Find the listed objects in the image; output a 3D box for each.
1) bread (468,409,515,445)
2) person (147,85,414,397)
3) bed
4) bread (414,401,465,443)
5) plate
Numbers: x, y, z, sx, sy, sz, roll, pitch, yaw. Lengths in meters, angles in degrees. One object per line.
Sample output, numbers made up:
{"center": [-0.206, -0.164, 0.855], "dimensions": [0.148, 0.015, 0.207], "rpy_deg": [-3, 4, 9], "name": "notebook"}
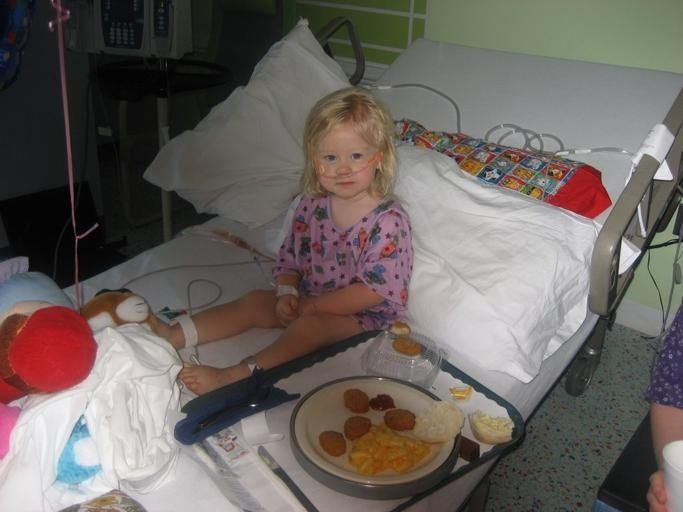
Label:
{"center": [0.350, 0.393, 1.204], "dimensions": [0.107, 0.029, 0.080], "rpy_deg": [5, 32, -2], "name": "bread"}
{"center": [-0.147, -0.178, 1.670], "dimensions": [0.885, 0.924, 0.567], "rpy_deg": [-16, 38, -25], "name": "person"}
{"center": [0.243, 0.083, 1.911], "dimensions": [1.129, 0.891, 1.801], "rpy_deg": [30, 64, 20], "name": "bed"}
{"center": [0.218, 0.355, 1.131], "dimensions": [0.081, 0.032, 0.069], "rpy_deg": [-38, 44, -22], "name": "bread"}
{"center": [0.073, 0.375, 1.134], "dimensions": [0.355, 0.080, 0.288], "rpy_deg": [13, 33, 10], "name": "plate"}
